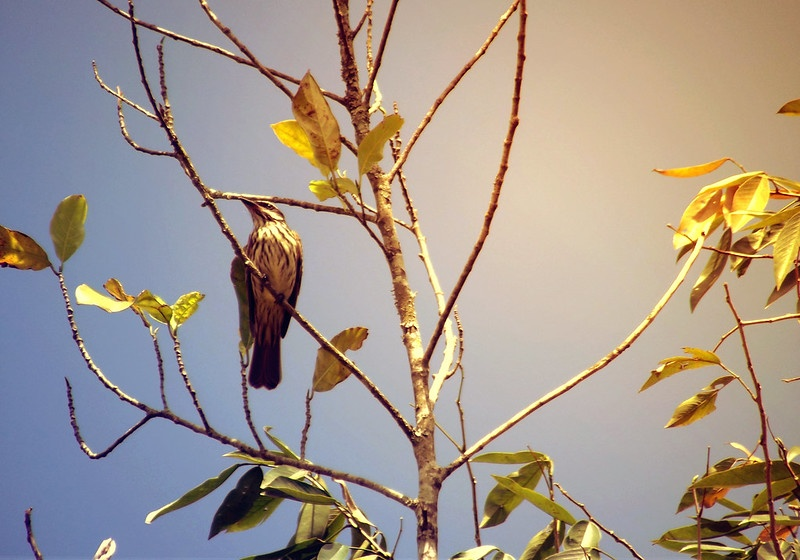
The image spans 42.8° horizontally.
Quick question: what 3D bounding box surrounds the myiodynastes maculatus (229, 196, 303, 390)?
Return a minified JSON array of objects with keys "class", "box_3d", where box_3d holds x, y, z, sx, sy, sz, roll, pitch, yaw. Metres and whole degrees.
[{"class":"myiodynastes maculatus","box_3d":[-0.360,0.022,2.733,0.165,0.226,0.576,2,-89,-6]}]
